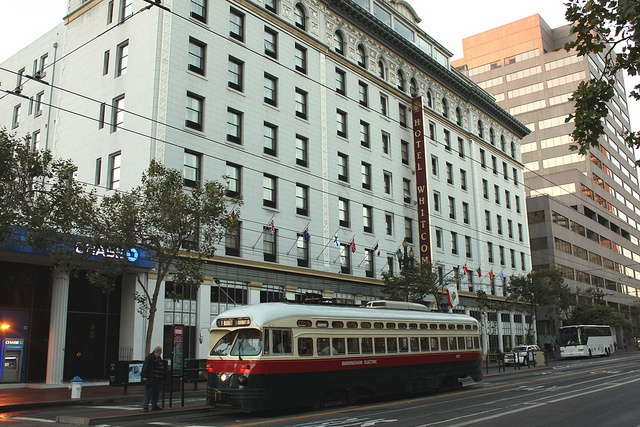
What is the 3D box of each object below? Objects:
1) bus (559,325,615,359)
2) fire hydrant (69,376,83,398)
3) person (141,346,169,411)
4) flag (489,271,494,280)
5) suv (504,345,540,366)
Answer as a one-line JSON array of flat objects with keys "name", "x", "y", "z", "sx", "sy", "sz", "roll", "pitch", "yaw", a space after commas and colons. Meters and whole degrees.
[{"name": "bus", "x": 31.732, "y": 15.270, "z": 70.816, "sx": 12.071, "sy": 3.880, "sz": 3.862, "roll": 15, "pitch": -25, "yaw": -41}, {"name": "fire hydrant", "x": -12.500, "y": 8.981, "z": 30.761, "sx": 0.471, "sy": 1.141, "sz": 0.935, "roll": 5, "pitch": -20, "yaw": -18}, {"name": "person", "x": -7.672, "y": 7.629, "z": 27.502, "sx": 1.058, "sy": 2.902, "sz": 1.293, "roll": 3, "pitch": -19, "yaw": -14}, {"name": "flag", "x": 19.463, "y": 6.906, "z": 68.006, "sx": 0.475, "sy": 1.090, "sz": 1.363, "roll": -8, "pitch": -20, "yaw": 19}, {"name": "suv", "x": 18.092, "y": 12.642, "z": 53.671, "sx": 1.878, "sy": 1.604, "sz": 3.986, "roll": -16, "pitch": -25, "yaw": 42}]
